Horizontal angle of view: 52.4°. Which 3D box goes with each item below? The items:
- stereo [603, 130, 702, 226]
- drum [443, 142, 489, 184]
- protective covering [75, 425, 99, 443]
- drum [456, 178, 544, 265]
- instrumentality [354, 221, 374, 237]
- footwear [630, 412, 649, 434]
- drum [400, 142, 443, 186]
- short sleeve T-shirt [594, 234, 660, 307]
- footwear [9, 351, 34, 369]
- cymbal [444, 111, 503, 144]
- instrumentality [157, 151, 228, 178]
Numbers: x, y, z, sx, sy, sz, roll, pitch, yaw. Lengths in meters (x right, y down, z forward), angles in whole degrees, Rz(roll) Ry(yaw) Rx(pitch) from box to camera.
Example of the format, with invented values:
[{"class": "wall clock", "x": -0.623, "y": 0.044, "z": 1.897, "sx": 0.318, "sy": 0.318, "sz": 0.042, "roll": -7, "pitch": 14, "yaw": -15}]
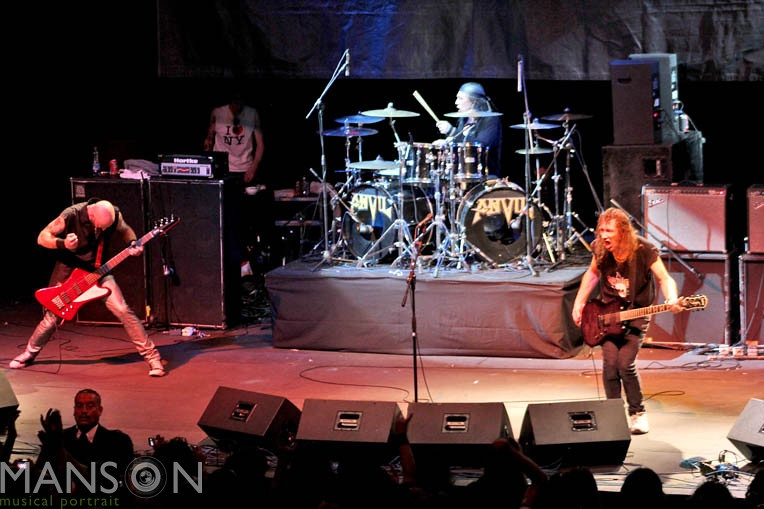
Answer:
[{"class": "stereo", "x": 3.155, "y": -0.922, "z": 9.389, "sx": 1.310, "sy": 1.057, "sz": 1.188, "roll": -2, "pitch": -2, "yaw": 14}, {"class": "drum", "x": 1.000, "y": -1.083, "z": 9.191, "sx": 0.527, "sy": 0.331, "sz": 0.510, "roll": 0, "pitch": 3, "yaw": 0}, {"class": "protective covering", "x": -2.343, "y": 1.423, "z": 6.103, "sx": 0.147, "sy": 0.156, "sz": 0.068, "roll": 0, "pitch": -4, "yaw": 1}, {"class": "drum", "x": 1.364, "y": -0.378, "z": 9.192, "sx": 0.861, "sy": 0.810, "sz": 0.494, "roll": -30, "pitch": 5, "yaw": 5}, {"class": "instrumentality", "x": -0.217, "y": -0.310, "z": 9.479, "sx": 0.209, "sy": 0.129, "sz": 0.081, "roll": 16, "pitch": 18, "yaw": 28}, {"class": "footwear", "x": 2.251, "y": 1.487, "z": 6.827, "sx": 0.170, "sy": 0.204, "sz": 0.123, "roll": 0, "pitch": -33, "yaw": 8}, {"class": "drum", "x": 0.469, "y": -1.079, "z": 9.291, "sx": 0.473, "sy": 0.517, "sz": 0.327, "roll": -1, "pitch": 13, "yaw": 2}, {"class": "short sleeve T-shirt", "x": 2.172, "y": 0.144, "z": 6.970, "sx": 0.435, "sy": 0.618, "sz": 0.722, "roll": -2, "pitch": 3, "yaw": -42}, {"class": "footwear", "x": -4.059, "y": 1.189, "z": 8.751, "sx": 0.143, "sy": 0.130, "sz": 0.364, "roll": 8, "pitch": 6, "yaw": 16}, {"class": "cymbal", "x": 1.157, "y": -1.599, "z": 9.615, "sx": 0.576, "sy": 0.398, "sz": 0.618, "roll": 3, "pitch": 6, "yaw": 29}, {"class": "instrumentality", "x": -2.426, "y": -1.142, "z": 9.911, "sx": 0.855, "sy": 0.322, "sz": 0.379, "roll": -3, "pitch": 12, "yaw": -12}]
